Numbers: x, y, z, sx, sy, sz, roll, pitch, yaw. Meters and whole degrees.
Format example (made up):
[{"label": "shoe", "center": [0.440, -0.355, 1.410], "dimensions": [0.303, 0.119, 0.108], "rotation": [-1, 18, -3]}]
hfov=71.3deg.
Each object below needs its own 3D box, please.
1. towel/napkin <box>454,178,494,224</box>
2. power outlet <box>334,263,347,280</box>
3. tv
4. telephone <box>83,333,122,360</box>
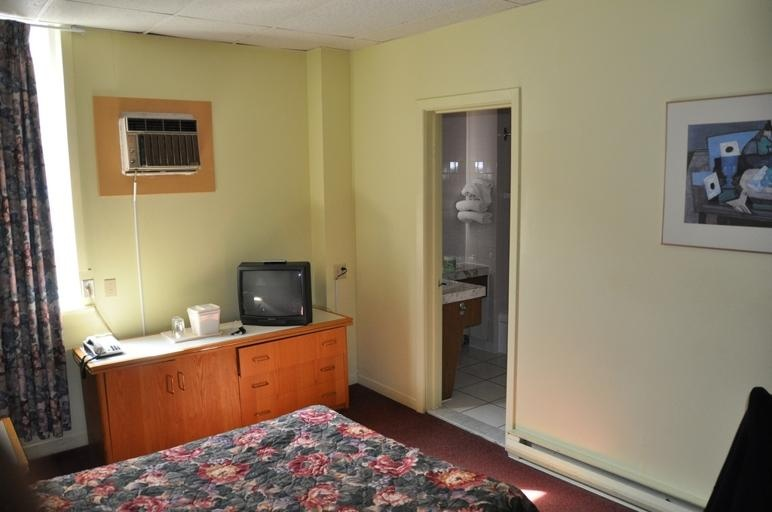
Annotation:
[{"label": "towel/napkin", "center": [1.085, -0.683, 6.639], "dimensions": [0.525, 0.503, 0.189], "rotation": [0, -5, 39]}, {"label": "power outlet", "center": [-0.504, 0.166, 5.764], "dimensions": [0.169, 0.162, 0.096], "rotation": [-2, 8, -39]}, {"label": "tv", "center": [-0.992, 0.365, 5.323], "dimensions": [0.933, 0.788, 0.549], "rotation": [0, 0, 0]}, {"label": "telephone", "center": [-2.378, 0.747, 4.515], "dimensions": [0.196, 0.095, 0.269], "rotation": [-7, 21, -45]}]
